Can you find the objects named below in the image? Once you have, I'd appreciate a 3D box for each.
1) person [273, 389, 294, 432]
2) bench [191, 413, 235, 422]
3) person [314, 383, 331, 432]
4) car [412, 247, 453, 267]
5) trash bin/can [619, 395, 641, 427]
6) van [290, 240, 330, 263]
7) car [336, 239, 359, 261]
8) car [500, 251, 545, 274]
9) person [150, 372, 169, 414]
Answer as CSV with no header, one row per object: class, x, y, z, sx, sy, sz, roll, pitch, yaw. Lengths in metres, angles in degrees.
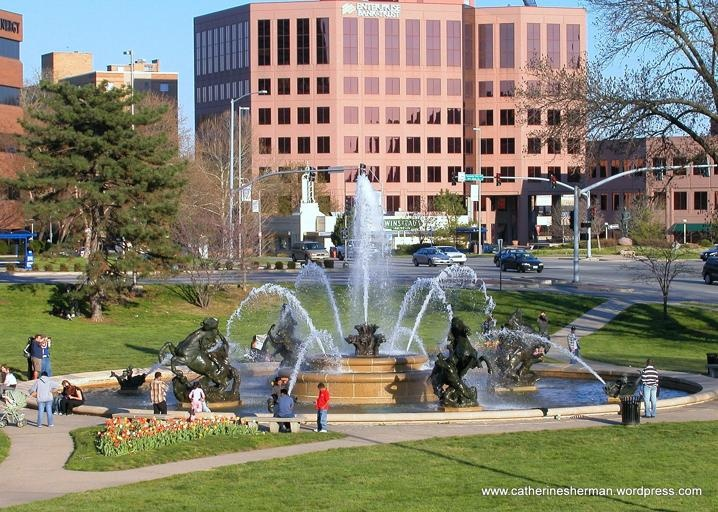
person,-2.793,5.674,48.036,0.708,1.519,0.754,5,3,34
bench,-5.297,5.898,47.316,1.699,0.266,1.036,-1,-4,-6
person,-1.354,5.503,47.385,0.446,1.744,0.993,-1,-3,-2
car,5.640,0.053,101.267,1.256,0.976,2.918,0,-1,-26
trash bin/can,9.952,5.762,48.101,0.967,1.129,0.901,0,-6,-2
van,-3.998,-0.427,105.326,1.790,1.378,3.266,-1,-2,-29
car,-1.077,-0.594,112.402,1.585,1.093,2.372,0,8,-6
car,11.877,0.424,95.296,1.421,1.760,3.611,1,-4,-37
person,-7.506,5.124,48.761,0.589,1.560,1.382,-1,-3,-9
